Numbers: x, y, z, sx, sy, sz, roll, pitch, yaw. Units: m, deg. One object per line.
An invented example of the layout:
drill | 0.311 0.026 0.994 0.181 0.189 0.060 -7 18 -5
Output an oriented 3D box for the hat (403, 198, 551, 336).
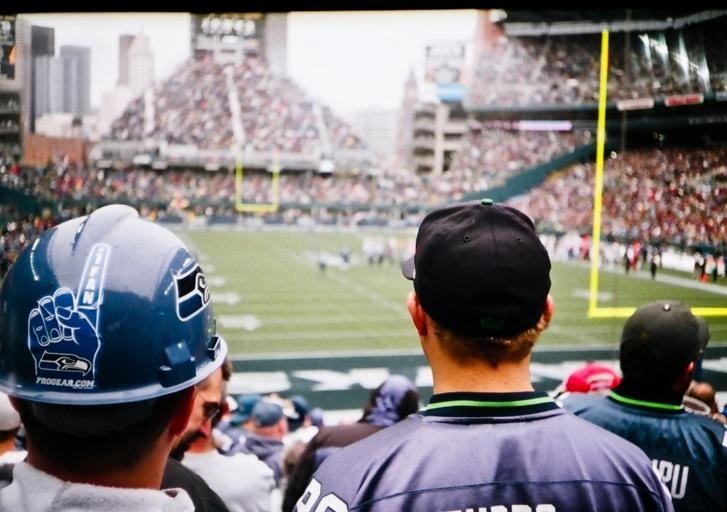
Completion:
hat | 0.709 0.096 7.866 0.708 0.521 0.886 -1 20 -2
